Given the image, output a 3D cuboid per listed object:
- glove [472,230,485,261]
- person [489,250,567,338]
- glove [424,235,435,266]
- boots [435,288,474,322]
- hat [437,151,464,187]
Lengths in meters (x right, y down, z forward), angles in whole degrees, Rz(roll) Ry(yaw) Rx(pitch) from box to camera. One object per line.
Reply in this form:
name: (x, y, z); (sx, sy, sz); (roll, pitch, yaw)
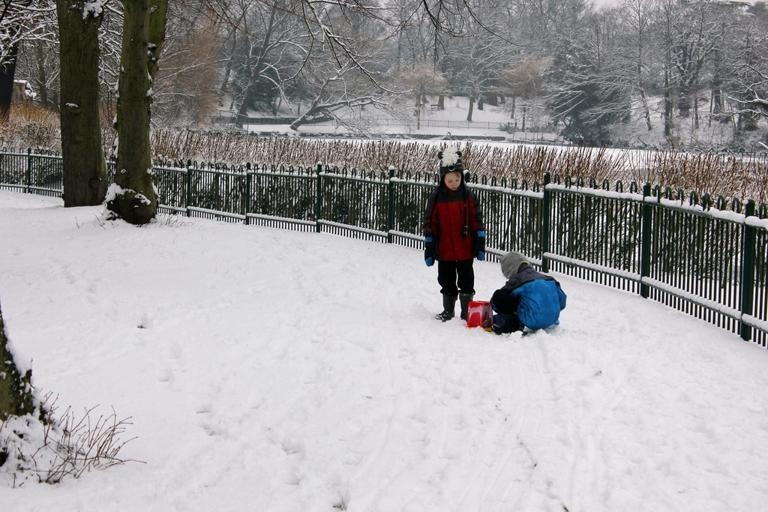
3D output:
glove: (1.293, -0.133, 9.344); (0.097, 0.342, 0.225); (2, -6, 21)
person: (1.848, 0.525, 8.960); (0.963, 1.050, 0.856); (-4, 4, -9)
glove: (0.630, -0.066, 9.489); (0.187, 0.382, 0.083); (-1, 0, 29)
boots: (0.970, 0.706, 9.565); (0.382, 0.372, 0.381); (13, 11, 18)
hat: (0.903, -1.173, 9.273); (0.346, 0.501, 0.367); (3, 9, 3)
